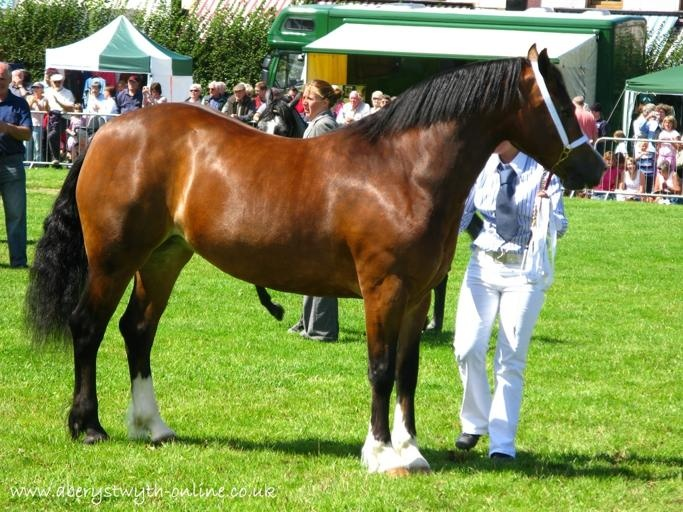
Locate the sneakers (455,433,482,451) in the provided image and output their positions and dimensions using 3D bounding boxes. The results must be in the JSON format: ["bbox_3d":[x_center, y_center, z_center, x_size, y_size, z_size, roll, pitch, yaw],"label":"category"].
[{"bbox_3d":[1.183,1.754,10.841,0.288,0.142,0.109,-7,20,8],"label":"sneakers"}]

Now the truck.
[{"bbox_3d":[2.350,-4.475,24.001,5.221,2.898,4.671,6,11,15],"label":"truck"}]
